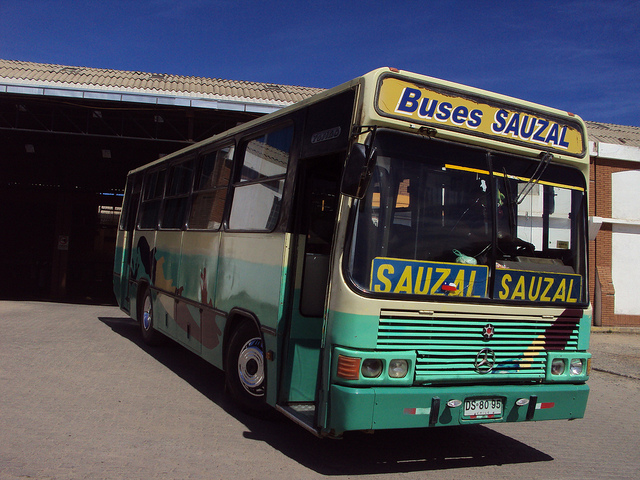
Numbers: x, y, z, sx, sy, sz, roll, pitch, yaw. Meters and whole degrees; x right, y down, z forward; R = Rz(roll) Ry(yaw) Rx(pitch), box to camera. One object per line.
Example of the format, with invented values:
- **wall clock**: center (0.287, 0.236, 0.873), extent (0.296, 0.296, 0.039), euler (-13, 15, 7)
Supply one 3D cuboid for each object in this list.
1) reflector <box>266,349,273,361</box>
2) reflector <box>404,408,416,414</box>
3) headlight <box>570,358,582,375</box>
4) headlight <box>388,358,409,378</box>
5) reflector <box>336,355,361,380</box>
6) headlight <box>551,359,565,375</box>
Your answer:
- **reflector**: center (-0.605, 1.409, 6.247), extent (0.083, 0.179, 0.140), euler (1, 0, -27)
- **reflector**: center (0.937, 1.801, 5.392), extent (0.133, 0.065, 0.008), euler (3, -2, -18)
- **headlight**: center (3.033, 1.517, 6.130), extent (0.205, 0.200, 0.047), euler (4, -2, -34)
- **headlight**: center (0.808, 1.348, 5.375), extent (0.168, 0.200, 0.057), euler (8, -5, -21)
- **reflector**: center (0.289, 1.319, 5.254), extent (0.188, 0.223, 0.215), euler (4, -4, 16)
- **headlight**: center (2.783, 1.503, 6.048), extent (0.178, 0.179, 0.038), euler (3, -2, -28)
